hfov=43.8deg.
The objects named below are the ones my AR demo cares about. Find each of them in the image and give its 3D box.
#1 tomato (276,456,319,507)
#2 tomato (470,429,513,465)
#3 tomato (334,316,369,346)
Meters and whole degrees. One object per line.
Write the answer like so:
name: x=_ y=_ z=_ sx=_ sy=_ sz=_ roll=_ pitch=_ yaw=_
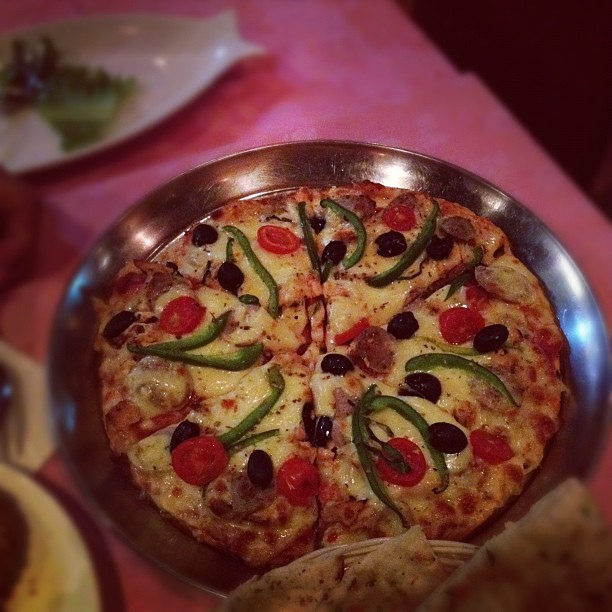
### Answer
tomato: x=-0.067 y=1.128 z=4.900 sx=0.249 sy=0.198 sz=0.327 roll=-1 pitch=61 yaw=4
tomato: x=1.202 y=0.927 z=4.989 sx=0.244 sy=0.105 sz=0.235 roll=-7 pitch=60 yaw=0
tomato: x=0.333 y=0.194 z=5.627 sx=0.063 sy=0.229 sz=0.234 roll=55 pitch=35 yaw=8
